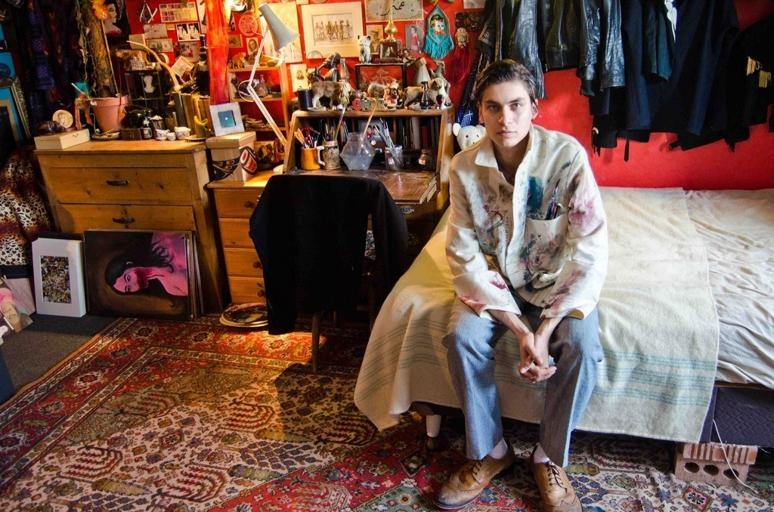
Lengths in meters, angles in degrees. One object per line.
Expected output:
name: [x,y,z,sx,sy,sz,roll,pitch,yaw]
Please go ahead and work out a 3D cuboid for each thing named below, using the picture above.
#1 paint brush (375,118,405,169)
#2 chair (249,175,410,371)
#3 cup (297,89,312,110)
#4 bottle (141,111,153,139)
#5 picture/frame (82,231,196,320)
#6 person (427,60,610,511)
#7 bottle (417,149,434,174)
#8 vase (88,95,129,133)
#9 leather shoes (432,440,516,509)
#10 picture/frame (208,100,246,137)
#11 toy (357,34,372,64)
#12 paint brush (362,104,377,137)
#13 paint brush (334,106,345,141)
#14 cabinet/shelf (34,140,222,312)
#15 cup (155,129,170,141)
paint brush: [0.002,-0.772,3.775,0.201,0.341,0.157,1,18,16]
chair: [-0.310,0.094,3.108,1.143,1.347,0.591,2,24,3]
cup: [-0.580,-1.124,3.873,0.133,0.141,0.127,0,35,0]
bottle: [-1.820,-0.997,4.100,0.084,0.206,0.141,-11,18,-21]
picture/frame: [-1.852,0.143,3.967,0.137,0.631,0.915,-8,-6,22]
person: [0.618,0.143,2.509,0.736,2.020,0.730,2,18,17]
bottle: [0.275,-0.658,3.728,0.118,0.143,0.153,-7,17,0]
vase: [-2.183,-1.125,4.205,0.316,0.278,0.315,-13,30,-39]
leather shoes: [0.433,1.046,2.650,0.465,0.177,0.153,-26,35,-21]
picture/frame: [-1.158,-0.999,3.920,0.063,0.247,0.283,0,15,45]
toy: [-0.154,-1.472,3.847,0.099,0.196,0.123,-3,17,0]
paint brush: [-0.121,-0.955,3.782,0.037,0.260,0.042,11,26,-30]
paint brush: [-0.332,-0.946,3.821,0.044,0.290,0.049,7,24,-21]
cabinet/shelf: [-1.809,-0.221,3.898,1.220,1.170,0.460,2,25,5]
cup: [-1.662,-0.899,4.014,0.091,0.083,0.078,-9,18,-20]
